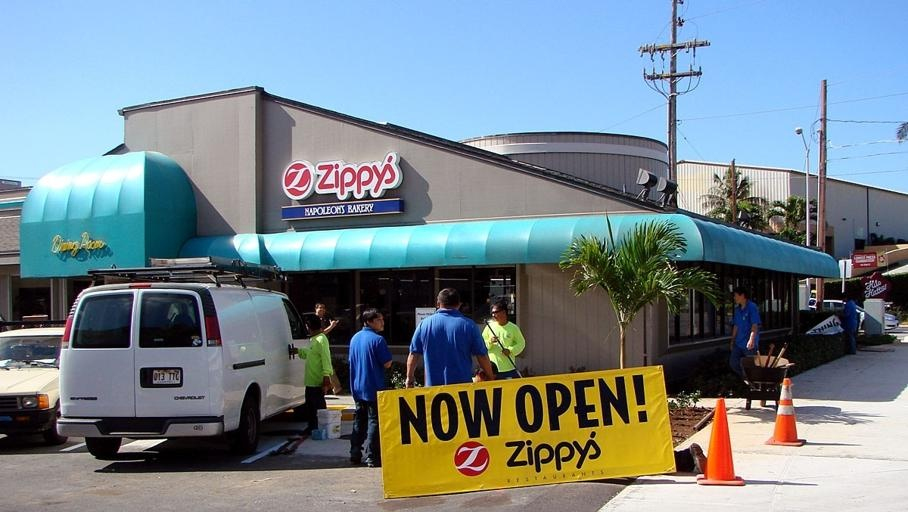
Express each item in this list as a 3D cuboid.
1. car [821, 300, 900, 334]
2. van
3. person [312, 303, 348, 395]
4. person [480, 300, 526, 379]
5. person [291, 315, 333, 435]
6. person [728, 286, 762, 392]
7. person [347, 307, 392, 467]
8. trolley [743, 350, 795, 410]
[{"bbox_3d":[18.407,2.786,36.055,4.276,1.733,2.354,-4,-2,16],"label":"car"},{"bbox_3d":[-5.852,2.248,17.677,2.964,3.234,7.709,0,-1,0],"label":"van"},{"bbox_3d":[-3.629,2.886,22.526,0.983,3.083,1.016,2,-1,-23],"label":"person"},{"bbox_3d":[1.160,2.017,18.356,0.609,1.986,0.791,-1,-2,30],"label":"person"},{"bbox_3d":[-3.326,2.793,18.927,0.795,2.668,0.915,-2,-1,-20],"label":"person"},{"bbox_3d":[7.434,2.077,20.235,0.722,2.499,0.624,0,0,35],"label":"person"},{"bbox_3d":[-1.591,2.748,16.779,1.060,2.831,1.412,-1,-2,41],"label":"person"},{"bbox_3d":[7.680,2.976,19.585,1.135,1.729,1.127,1,-1,-43],"label":"trolley"}]
